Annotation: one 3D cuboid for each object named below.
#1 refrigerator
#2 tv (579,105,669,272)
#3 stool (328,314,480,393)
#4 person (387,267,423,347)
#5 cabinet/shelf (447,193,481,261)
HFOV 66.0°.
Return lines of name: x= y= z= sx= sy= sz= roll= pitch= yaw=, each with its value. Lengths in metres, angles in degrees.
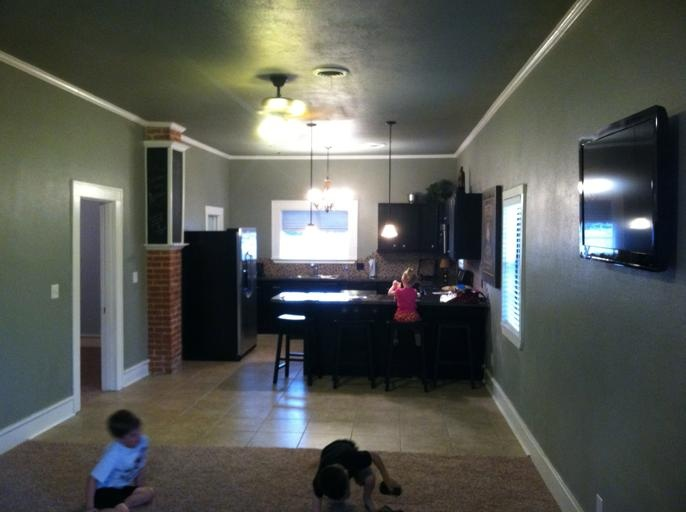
refrigerator: x=-1.831 y=0.557 z=7.943 sx=1.149 sy=1.923 sz=0.648 roll=-2 pitch=4 yaw=-22
tv: x=1.658 y=-0.376 z=3.094 sx=0.142 sy=0.874 sz=0.617 roll=-1 pitch=4 yaw=-13
stool: x=0.814 y=1.191 z=6.612 sx=1.843 sy=0.821 sz=0.475 roll=0 pitch=4 yaw=5
person: x=0.797 y=0.656 z=6.759 sx=0.379 sy=0.978 sz=0.625 roll=0 pitch=4 yaw=4
cabinet/shelf: x=1.630 y=-0.393 z=7.008 sx=0.313 sy=0.853 sz=0.939 roll=0 pitch=0 yaw=3
